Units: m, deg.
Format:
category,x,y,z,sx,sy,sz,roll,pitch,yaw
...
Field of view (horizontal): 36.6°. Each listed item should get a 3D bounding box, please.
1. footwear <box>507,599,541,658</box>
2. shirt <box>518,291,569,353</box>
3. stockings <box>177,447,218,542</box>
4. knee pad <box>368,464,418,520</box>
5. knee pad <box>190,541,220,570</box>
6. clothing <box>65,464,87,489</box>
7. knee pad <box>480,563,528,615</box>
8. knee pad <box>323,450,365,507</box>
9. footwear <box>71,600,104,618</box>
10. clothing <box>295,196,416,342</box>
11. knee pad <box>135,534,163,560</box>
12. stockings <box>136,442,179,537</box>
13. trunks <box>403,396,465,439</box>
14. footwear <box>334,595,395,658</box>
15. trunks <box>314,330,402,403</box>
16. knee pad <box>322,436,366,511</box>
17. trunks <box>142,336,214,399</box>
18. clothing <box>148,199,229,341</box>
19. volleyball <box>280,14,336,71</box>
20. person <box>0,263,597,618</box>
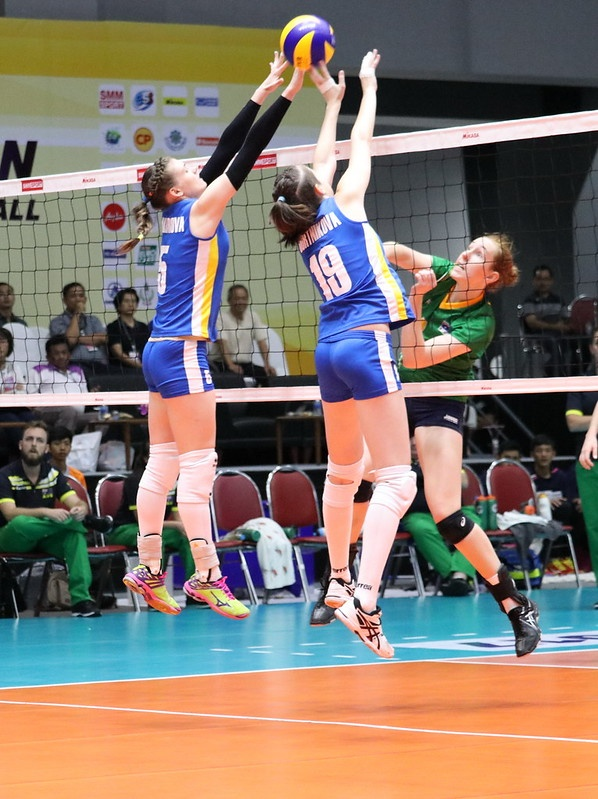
category,x,y,z,sx,sy,sz,roll,pitch,yaw
footwear,0.780,0.791,3.206,0.084,0.106,0.228,-34,23,28
shirt,2.813,-0.888,10.469,0.810,0.789,0.339,1,-32,22
stockings,-0.390,0.394,3.499,0.176,0.415,0.154,-1,-8,-3
knee pad,0.293,0.288,2.823,0.160,0.117,0.102,-1,0,-8
knee pad,-0.369,0.597,3.495,0.099,0.106,0.121,-2,0,-7
clothing,-1.879,0.643,7.590,0.225,0.197,0.113,14,34,5
knee pad,0.747,0.680,3.257,0.082,0.223,0.104,-36,-7,27
knee pad,0.153,0.278,3.280,0.174,0.209,0.183,3,13,-1
footwear,-1.536,1.533,6.614,0.276,0.098,0.100,-7,-9,39
clothing,0.181,-0.438,2.953,0.374,0.343,0.264,-1,1,2
knee pad,-0.584,0.582,3.580,0.103,0.100,0.114,1,3,17
stockings,-0.563,0.351,3.587,0.172,0.431,0.134,4,-6,-20
trunks,0.524,0.063,3.545,0.202,0.127,0.154,-4,-7,21
footwear,0.199,0.689,2.738,0.129,0.141,0.228,-1,0,37
trunks,0.148,-0.103,2.854,0.235,0.221,0.383,-3,-1,-37
knee pad,0.172,0.273,3.311,0.209,0.257,0.221,4,7,-10
trunks,-0.491,-0.132,3.464,0.254,0.214,0.332,-4,6,-29
clothing,-0.424,-0.496,3.437,0.273,0.433,0.194,-2,1,-9
volleyball,0.031,-1.498,3.778,0.229,0.229,0.234,15,21,40
person,0.184,0.092,3.686,2.347,1.151,1.552,-2,-3,37
